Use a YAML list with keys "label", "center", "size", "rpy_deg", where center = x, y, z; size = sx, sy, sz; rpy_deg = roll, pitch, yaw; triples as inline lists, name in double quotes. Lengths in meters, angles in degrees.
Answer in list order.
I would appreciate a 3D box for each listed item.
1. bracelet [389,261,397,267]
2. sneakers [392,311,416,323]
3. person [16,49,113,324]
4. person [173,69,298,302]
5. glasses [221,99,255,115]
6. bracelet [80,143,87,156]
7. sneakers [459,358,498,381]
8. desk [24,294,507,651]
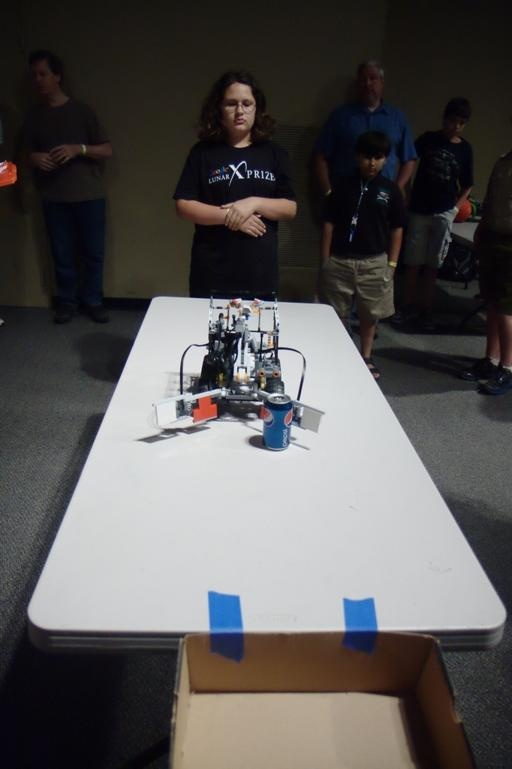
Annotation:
- label: "bracelet"
  center: [0.697, -0.615, 2.845]
  size: [0.030, 0.023, 0.042]
  rpy_deg: [1, 9, 5]
- label: "sneakers"
  center: [1.046, -0.484, 4.026]
  size: [0.188, 0.088, 0.085]
  rpy_deg: [-4, 24, -3]
- label: "person"
  center: [-1.147, -1.166, 3.460]
  size: [0.512, 1.568, 0.473]
  rpy_deg: [-8, 32, -18]
- label: "person"
  center: [-0.079, -0.682, 2.036]
  size: [0.437, 0.813, 0.322]
  rpy_deg: [6, 30, 4]
- label: "glasses"
  center: [-0.061, -0.924, 1.843]
  size: [0.101, 0.043, 0.048]
  rpy_deg: [1, 31, -5]
- label: "bracelet"
  center: [-1.018, -1.384, 3.268]
  size: [0.019, 0.053, 0.050]
  rpy_deg: [2, 0, 21]
- label: "sneakers"
  center: [1.259, -0.083, 3.140]
  size: [0.214, 0.100, 0.090]
  rpy_deg: [2, 20, 16]
- label: "desk"
  center: [-0.004, 0.230, 0.963]
  size: [0.426, 0.235, 1.014]
  rpy_deg: [5, 35, -4]
